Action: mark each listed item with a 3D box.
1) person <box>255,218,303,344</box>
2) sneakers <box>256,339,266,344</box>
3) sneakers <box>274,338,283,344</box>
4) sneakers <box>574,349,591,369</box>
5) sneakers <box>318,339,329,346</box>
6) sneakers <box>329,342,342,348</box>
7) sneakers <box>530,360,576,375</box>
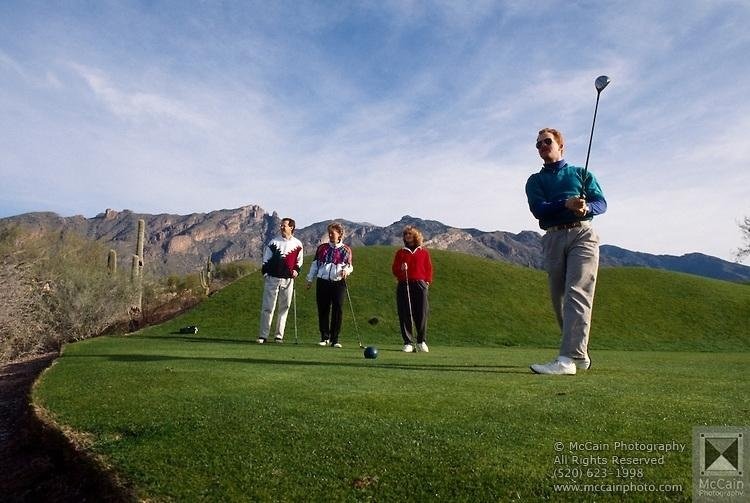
[{"bbox_3d":[-2.243,0.668,12.146,0.921,2.860,0.997,1,-5,5],"label":"person"},{"bbox_3d":[-2.556,1.987,11.587,0.154,0.109,0.274,3,-13,-7],"label":"sneakers"},{"bbox_3d":[-2.225,2.044,11.986,0.214,0.119,0.166,-6,-6,40],"label":"sneakers"},{"bbox_3d":[2.760,1.431,6.891,0.186,0.276,0.388,-2,-5,28],"label":"sneakers"},{"bbox_3d":[-1.118,1.993,11.367,0.241,0.164,0.085,-5,-9,18],"label":"sneakers"},{"bbox_3d":[-0.818,1.964,10.967,0.097,0.113,0.282,4,-14,-29],"label":"sneakers"},{"bbox_3d":[2.341,1.494,6.747,0.589,0.244,0.212,1,-7,0],"label":"sneakers"}]
